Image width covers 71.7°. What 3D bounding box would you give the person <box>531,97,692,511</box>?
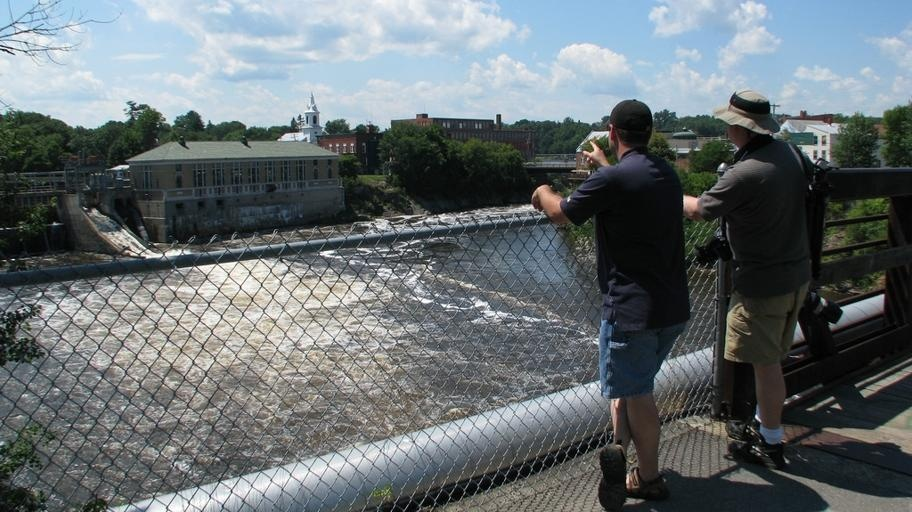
[{"bbox_3d":[1.387,0.399,5.230,1.061,3.313,0.924,2,13,18],"label":"person"}]

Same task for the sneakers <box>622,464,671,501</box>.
[{"bbox_3d":[1.610,1.927,5.368,0.480,0.186,0.197,2,7,22],"label":"sneakers"}]

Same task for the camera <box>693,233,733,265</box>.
[{"bbox_3d":[2.349,-0.050,5.776,0.278,0.155,0.265,-15,11,40],"label":"camera"}]

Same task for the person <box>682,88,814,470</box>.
[{"bbox_3d":[2.689,0.181,5.728,0.953,3.288,0.871,4,14,28],"label":"person"}]
